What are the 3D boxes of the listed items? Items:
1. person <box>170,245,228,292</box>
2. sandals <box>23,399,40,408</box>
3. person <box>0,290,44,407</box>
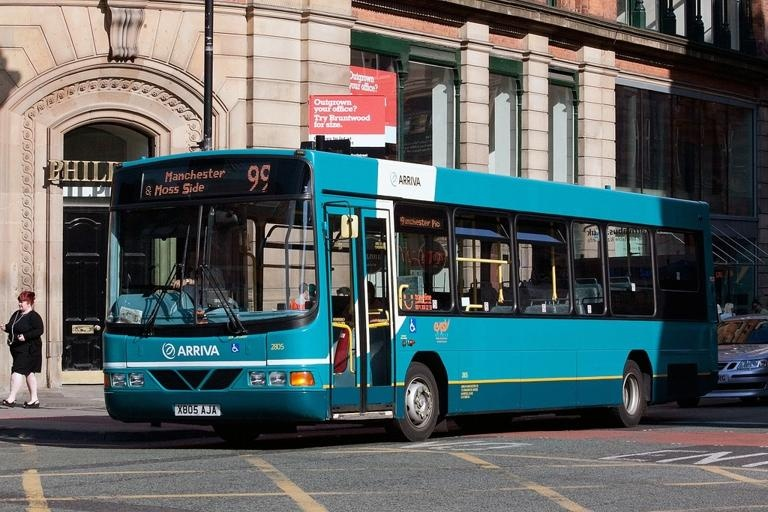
[{"bbox_3d":[-2.649,0.301,17.586,0.752,0.658,0.431,0,0,-3],"label":"person"},{"bbox_3d":[-6.697,2.839,23.313,0.321,0.120,0.121,10,-15,-31],"label":"sandals"},{"bbox_3d":[-6.964,1.801,23.646,0.688,2.260,0.861,2,-6,-38],"label":"person"}]
